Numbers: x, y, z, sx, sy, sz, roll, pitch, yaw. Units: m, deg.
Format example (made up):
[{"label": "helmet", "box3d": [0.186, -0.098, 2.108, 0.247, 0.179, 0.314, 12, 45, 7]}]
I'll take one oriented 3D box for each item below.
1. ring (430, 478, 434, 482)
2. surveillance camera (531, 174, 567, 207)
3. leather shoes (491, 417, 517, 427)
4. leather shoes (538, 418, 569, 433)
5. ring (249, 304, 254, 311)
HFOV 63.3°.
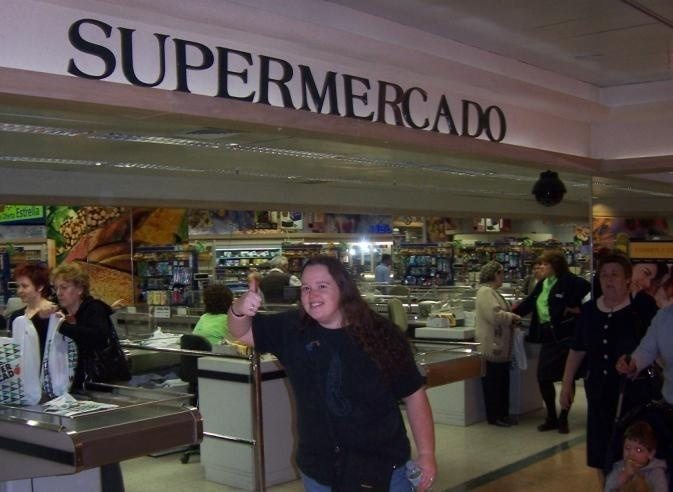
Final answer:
[{"label": "ring", "box3d": [0.405, 0.984, 2.308, 0.018, 0.017, 0.005, 3, -15, -13]}, {"label": "surveillance camera", "box3d": [2.603, -0.692, 6.647, 0.425, 0.418, 0.398, 0, -5, -3]}, {"label": "leather shoes", "box3d": [1.980, 2.091, 6.506, 0.176, 0.051, 0.132, -8, -8, 36]}, {"label": "leather shoes", "box3d": [2.528, 2.074, 6.338, 0.413, 0.168, 0.139, 2, -3, 11]}, {"label": "ring", "box3d": [-0.358, 0.260, 2.306, 0.031, 0.026, 0.007, -2, 7, 1]}]
